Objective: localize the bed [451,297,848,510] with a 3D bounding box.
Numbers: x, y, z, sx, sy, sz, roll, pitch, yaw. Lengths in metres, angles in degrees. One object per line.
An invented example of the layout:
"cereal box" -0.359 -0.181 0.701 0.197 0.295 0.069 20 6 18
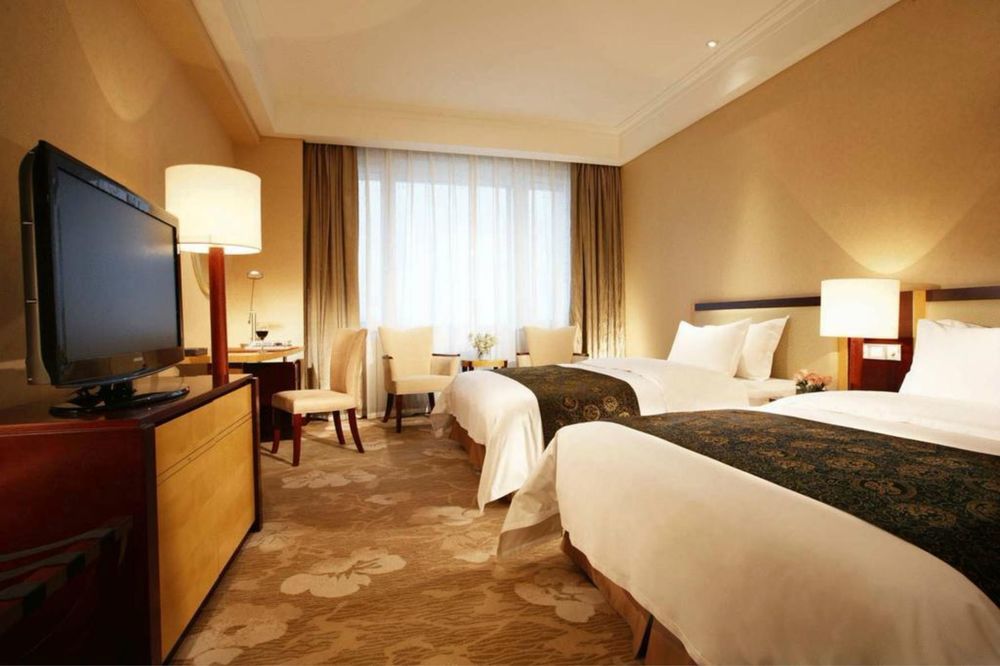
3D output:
"bed" 0.871 0.419 4.396 1.950 1.036 1.705 1 -4 -7

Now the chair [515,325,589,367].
"chair" 0.521 0.164 6.690 0.497 0.655 0.521 0 -8 -4

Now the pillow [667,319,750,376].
"pillow" 1.688 0.117 4.959 0.146 0.288 0.462 29 -13 -19

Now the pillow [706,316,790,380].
"pillow" 2.039 0.125 5.230 0.427 0.666 0.706 -13 7 -21
